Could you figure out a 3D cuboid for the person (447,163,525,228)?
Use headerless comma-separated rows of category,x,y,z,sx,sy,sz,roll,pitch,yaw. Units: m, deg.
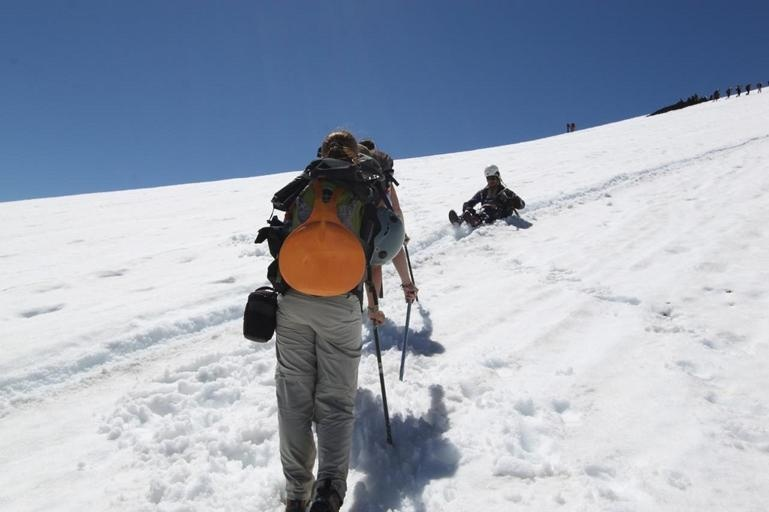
person,2.434,-1.432,13.117,1.771,0.977,1.206,-29,7,-26

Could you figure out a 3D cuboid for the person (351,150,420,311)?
person,0.249,-0.457,7.896,1.457,1.990,0.955,2,4,41

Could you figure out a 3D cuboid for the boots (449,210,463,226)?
boots,1.684,-0.909,12.723,0.323,0.347,0.228,-6,10,-2

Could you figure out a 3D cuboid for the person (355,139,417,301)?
person,0.116,-0.481,8.132,1.535,2.086,0.753,2,8,44
